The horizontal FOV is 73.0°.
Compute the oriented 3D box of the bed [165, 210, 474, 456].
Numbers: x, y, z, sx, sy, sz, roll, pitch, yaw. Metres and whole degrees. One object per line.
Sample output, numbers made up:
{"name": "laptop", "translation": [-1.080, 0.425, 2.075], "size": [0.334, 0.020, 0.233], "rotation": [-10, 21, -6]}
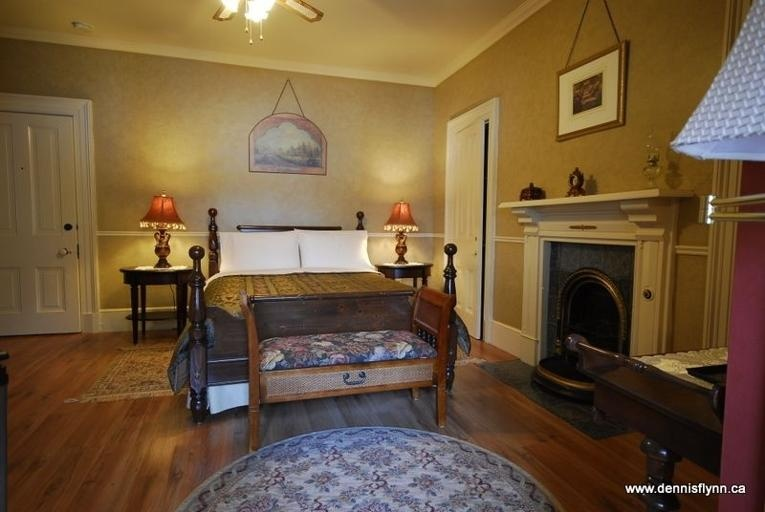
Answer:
{"name": "bed", "translation": [-0.502, 0.536, 4.523], "size": [1.717, 1.116, 1.741], "rotation": [-1, 1, -15]}

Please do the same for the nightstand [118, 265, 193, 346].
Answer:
{"name": "nightstand", "translation": [-2.469, 0.520, 5.771], "size": [0.797, 0.795, 0.781], "rotation": [0, 1, -9]}
